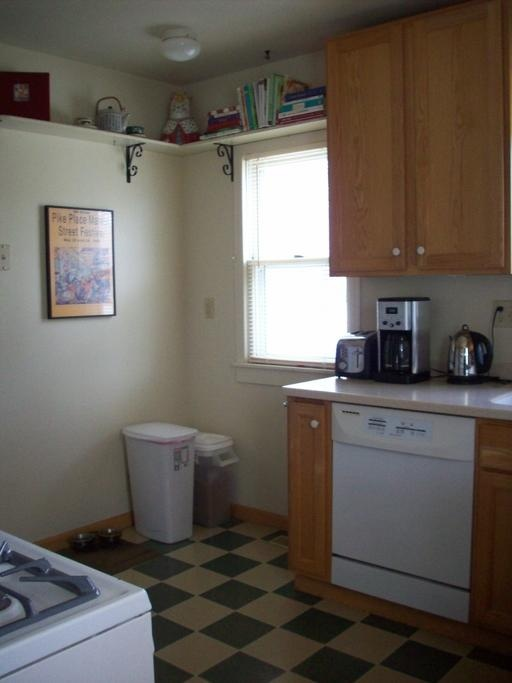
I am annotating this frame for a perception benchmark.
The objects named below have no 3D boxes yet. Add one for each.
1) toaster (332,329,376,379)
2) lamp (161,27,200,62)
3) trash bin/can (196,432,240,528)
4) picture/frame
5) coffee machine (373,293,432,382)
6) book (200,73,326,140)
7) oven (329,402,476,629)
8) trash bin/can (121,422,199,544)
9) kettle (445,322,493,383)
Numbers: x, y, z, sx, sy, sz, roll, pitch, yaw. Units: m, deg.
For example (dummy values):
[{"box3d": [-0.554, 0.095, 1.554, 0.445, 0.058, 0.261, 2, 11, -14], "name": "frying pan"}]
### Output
[{"box3d": [0.449, 0.068, 2.575, 0.207, 0.207, 0.116, -1, 2, 25], "name": "toaster"}, {"box3d": [-0.371, -1.442, 2.712, 0.182, 0.105, 0.176, -2, 2, -7], "name": "lamp"}, {"box3d": [-0.246, 0.822, 3.318, 0.261, 0.505, 0.255, -2, 1, -3], "name": "trash bin/can"}, {"box3d": [-0.953, -0.427, 3.043, 0.034, 0.599, 0.412, 0, 2, 40], "name": "picture/frame"}, {"box3d": [0.649, -0.016, 2.480, 0.169, 0.413, 0.187, -4, 12, -38], "name": "coffee machine"}, {"box3d": [0.108, -1.159, 2.960, 0.848, 0.353, 0.323, 11, 14, 35], "name": "book"}, {"box3d": [0.692, 0.606, 2.301, 0.611, 0.678, 0.516, 9, 12, 42], "name": "oven"}, {"box3d": [-0.511, 0.770, 3.223, 0.369, 0.615, 0.388, 1, 4, 30], "name": "trash bin/can"}, {"box3d": [0.915, 0.065, 2.405, 0.190, 0.216, 0.137, -1, 2, 12], "name": "kettle"}]
